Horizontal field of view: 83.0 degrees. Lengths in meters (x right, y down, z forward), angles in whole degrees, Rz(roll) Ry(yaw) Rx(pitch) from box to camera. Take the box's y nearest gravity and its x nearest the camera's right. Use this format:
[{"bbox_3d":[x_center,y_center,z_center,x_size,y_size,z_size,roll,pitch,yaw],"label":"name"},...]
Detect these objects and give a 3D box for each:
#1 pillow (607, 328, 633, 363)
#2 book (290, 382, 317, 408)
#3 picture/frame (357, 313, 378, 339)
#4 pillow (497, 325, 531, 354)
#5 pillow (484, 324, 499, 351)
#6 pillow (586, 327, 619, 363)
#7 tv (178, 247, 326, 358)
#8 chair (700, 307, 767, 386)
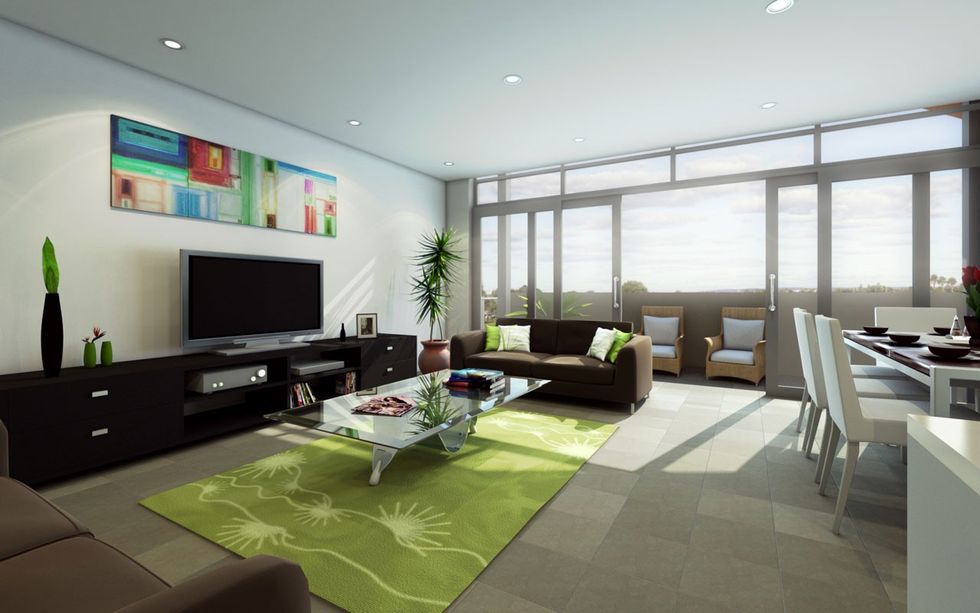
[{"bbox_3d":[1.526,0.474,6.473,0.258,0.335,0.449,4,8,29],"label":"pillow"},{"bbox_3d":[-1.999,0.955,5.892,0.150,0.223,0.248,-16,5,-36],"label":"book"},{"bbox_3d":[-1.546,0.258,6.934,0.026,0.284,0.268,-10,10,42],"label":"picture/frame"},{"bbox_3d":[0.304,0.443,7.147,0.351,0.282,0.123,1,-25,4],"label":"pillow"},{"bbox_3d":[0.019,0.427,7.218,0.328,0.297,0.112,2,-13,-10],"label":"pillow"},{"bbox_3d":[1.381,0.475,6.587,0.117,0.339,0.375,26,-4,-29],"label":"pillow"},{"bbox_3d":[-2.554,-0.032,5.804,0.139,0.863,1.375,-1,-1,39],"label":"tv"},{"bbox_3d":[3.418,0.522,7.661,0.883,0.855,0.841,-7,9,-23],"label":"chair"}]
